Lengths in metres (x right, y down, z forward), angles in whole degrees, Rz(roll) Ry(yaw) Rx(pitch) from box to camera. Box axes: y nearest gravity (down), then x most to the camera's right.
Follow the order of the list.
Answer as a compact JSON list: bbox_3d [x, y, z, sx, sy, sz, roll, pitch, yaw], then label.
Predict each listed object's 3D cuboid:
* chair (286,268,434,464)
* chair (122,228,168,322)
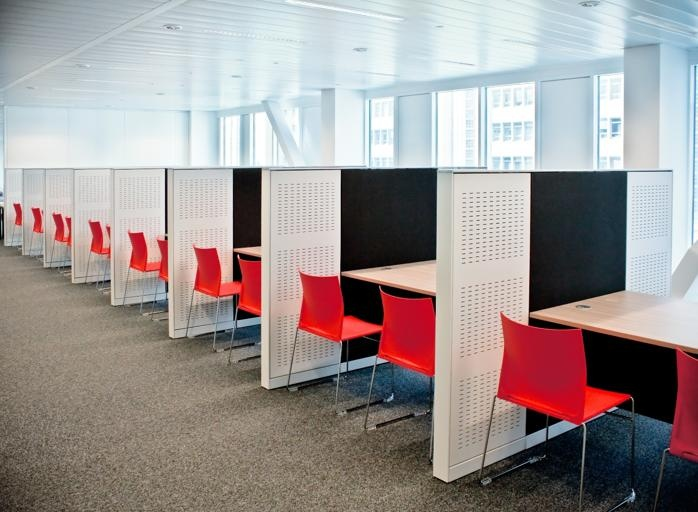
[{"bbox_3d":[0.069,0.874,4.206,0.492,0.742,1.253,-8,10,-36],"label":"chair"},{"bbox_3d":[-2.625,0.226,6.737,0.560,1.057,1.449,-6,8,-23],"label":"chair"}]
